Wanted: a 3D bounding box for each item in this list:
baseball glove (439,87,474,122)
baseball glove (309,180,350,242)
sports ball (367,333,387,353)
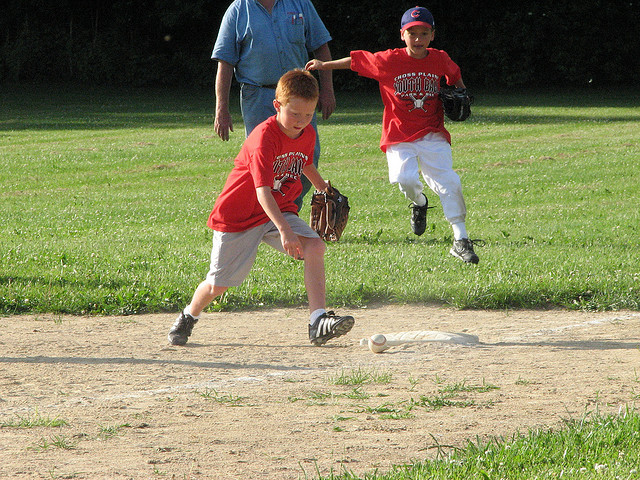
[{"bbox_3d":[1.347,-1.346,9.641,0.170,0.348,0.269,-5,6,-11],"label":"baseball glove"},{"bbox_3d":[0.089,-0.262,8.557,0.212,0.481,0.354,8,9,42],"label":"baseball glove"},{"bbox_3d":[0.484,0.866,8.293,0.171,0.159,0.173,-1,13,0],"label":"sports ball"}]
